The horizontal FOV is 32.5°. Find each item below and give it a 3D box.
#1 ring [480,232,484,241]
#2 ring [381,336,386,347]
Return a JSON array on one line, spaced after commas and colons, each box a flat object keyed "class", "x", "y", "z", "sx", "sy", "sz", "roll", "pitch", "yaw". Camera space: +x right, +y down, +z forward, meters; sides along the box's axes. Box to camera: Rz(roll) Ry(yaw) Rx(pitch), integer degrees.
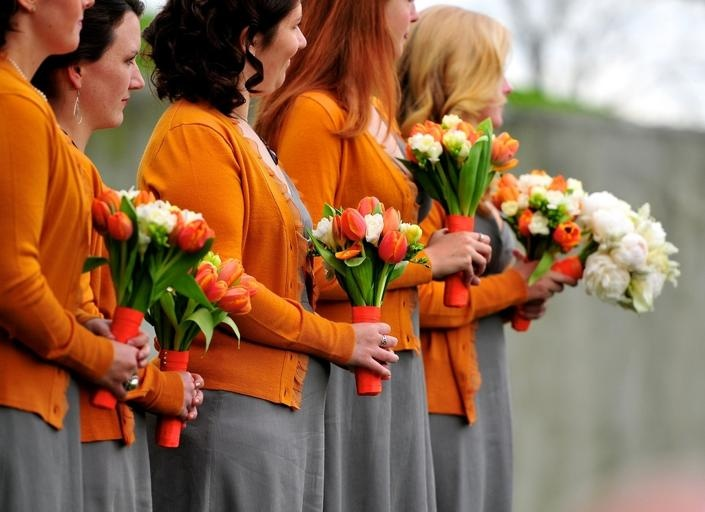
[{"class": "ring", "x": 0.524, "y": -0.077, "z": 4.930, "sx": 0.021, "sy": 0.034, "sz": 0.011, "roll": -2, "pitch": 2, "yaw": -1}, {"class": "ring", "x": 0.112, "y": 0.313, "z": 4.371, "sx": 0.023, "sy": 0.029, "sz": 0.026, "roll": 10, "pitch": -16, "yaw": -34}]
